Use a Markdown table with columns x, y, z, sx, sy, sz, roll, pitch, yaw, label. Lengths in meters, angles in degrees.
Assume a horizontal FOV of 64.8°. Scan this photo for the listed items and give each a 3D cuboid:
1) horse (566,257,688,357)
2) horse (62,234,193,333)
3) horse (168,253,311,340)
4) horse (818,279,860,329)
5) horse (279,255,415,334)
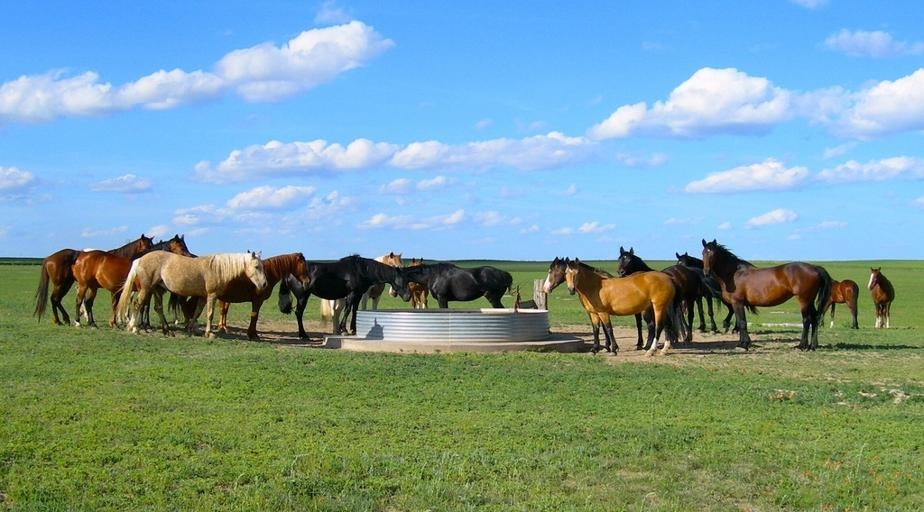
| x | y | z | sx | sy | sz | roll | pitch | yaw | label |
| --- | --- | --- | --- | --- | --- | --- | --- | --- | --- |
| 5.350 | 1.783 | 25.241 | 4.475 | 3.041 | 1.218 | 4 | -6 | -21 | horse |
| -12.064 | 1.057 | 26.495 | 4.799 | 3.034 | 1.064 | -4 | -8 | 5 | horse |
| -8.145 | 1.536 | 27.197 | 5.096 | 2.937 | 1.186 | -1 | 5 | -3 | horse |
| 19.514 | 2.285 | 37.847 | 0.921 | 2.455 | 3.463 | 3 | -4 | -5 | horse |
| -4.664 | 1.633 | 28.218 | 5.181 | 3.022 | 1.190 | 1 | -6 | 5 | horse |
